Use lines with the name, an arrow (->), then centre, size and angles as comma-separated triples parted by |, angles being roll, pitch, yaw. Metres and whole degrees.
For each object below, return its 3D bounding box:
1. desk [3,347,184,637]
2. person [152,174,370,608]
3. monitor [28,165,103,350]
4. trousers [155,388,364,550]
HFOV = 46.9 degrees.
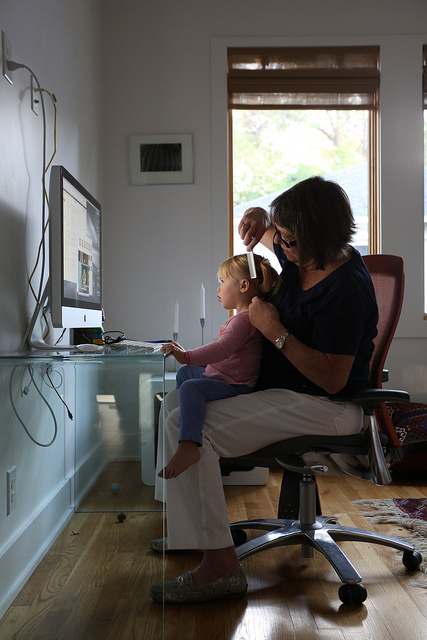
desk -> -0.280, 0.414, 1.494 | 0.433, 0.969, 0.848 | 0, -3, -3
person -> 0.126, 0.180, 1.350 | 0.503, 1.077, 0.411 | 3, 1, -10
monitor -> -0.526, -0.172, 1.720 | 0.175, 0.570, 0.586 | 1, 0, -1
trousers -> 0.081, 0.347, 1.397 | 0.480, 0.588, 0.316 | 0, -3, -11
